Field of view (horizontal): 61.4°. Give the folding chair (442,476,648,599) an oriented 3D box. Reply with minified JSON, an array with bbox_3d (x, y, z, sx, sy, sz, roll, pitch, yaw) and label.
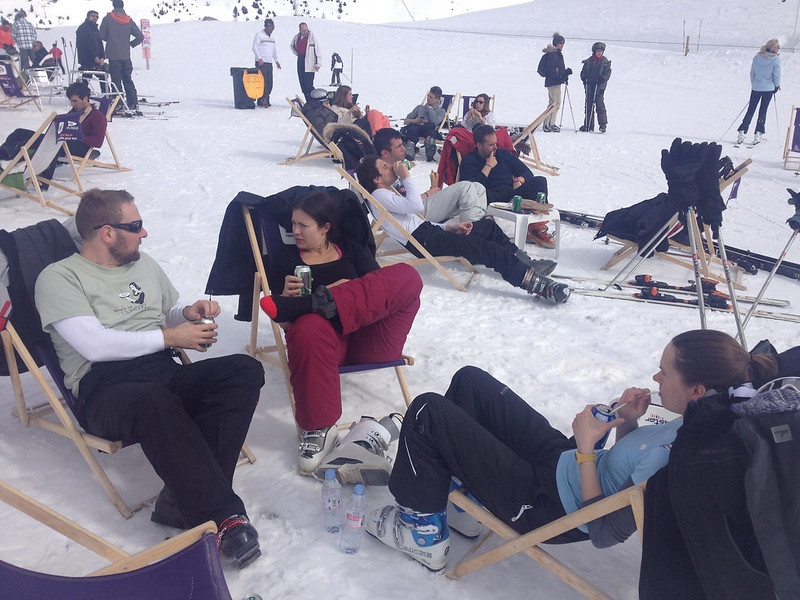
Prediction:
[{"bbox_3d":[0.556,0.923,2.916,0.953,0.599,0.476,0,7,18],"label":"folding chair"}]

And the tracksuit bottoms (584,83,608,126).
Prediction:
[{"bbox_3d":[3.796,-3.717,13.080,0.435,0.988,0.339,-6,-26,25],"label":"tracksuit bottoms"}]

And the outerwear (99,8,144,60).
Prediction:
[{"bbox_3d":[-5.093,-4.847,12.273,0.685,0.839,0.661,-8,24,-23],"label":"outerwear"}]

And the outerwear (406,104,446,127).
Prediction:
[{"bbox_3d":[0.433,-3.126,11.327,0.599,0.265,0.609,4,37,15],"label":"outerwear"}]

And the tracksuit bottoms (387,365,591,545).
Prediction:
[{"bbox_3d":[0.342,0.697,3.097,0.915,0.389,0.538,36,71,16],"label":"tracksuit bottoms"}]

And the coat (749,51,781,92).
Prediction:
[{"bbox_3d":[6.193,-3.902,11.437,0.468,0.627,0.446,14,25,29],"label":"coat"}]

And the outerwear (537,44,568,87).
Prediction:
[{"bbox_3d":[3.011,-4.657,13.204,0.472,0.828,0.845,-16,24,-17],"label":"outerwear"}]

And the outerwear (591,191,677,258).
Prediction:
[{"bbox_3d":[2.078,-0.730,6.058,0.265,0.598,0.578,37,9,-41],"label":"outerwear"}]

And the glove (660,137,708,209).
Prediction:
[{"bbox_3d":[1.869,-0.846,4.456,0.324,0.502,0.152,10,23,17],"label":"glove"}]

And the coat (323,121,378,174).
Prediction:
[{"bbox_3d":[-0.629,-1.922,8.266,0.201,0.286,0.375,36,74,13],"label":"coat"}]

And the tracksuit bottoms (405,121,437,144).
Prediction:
[{"bbox_3d":[0.308,-2.716,10.804,0.525,0.187,0.308,8,1,34],"label":"tracksuit bottoms"}]

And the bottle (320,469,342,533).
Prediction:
[{"bbox_3d":[-0.329,0.957,3.246,0.090,0.243,0.217,-1,22,-7],"label":"bottle"}]

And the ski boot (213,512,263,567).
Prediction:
[{"bbox_3d":[-0.682,1.023,2.867,0.125,0.122,0.269,-24,-14,-23],"label":"ski boot"}]

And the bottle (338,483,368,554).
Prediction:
[{"bbox_3d":[-0.223,0.998,3.124,0.124,0.276,0.219,0,22,-3],"label":"bottle"}]

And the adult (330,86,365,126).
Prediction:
[{"bbox_3d":[-0.822,-3.066,10.689,0.578,0.685,0.520,1,18,-6],"label":"adult"}]

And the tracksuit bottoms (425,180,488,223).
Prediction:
[{"bbox_3d":[0.529,-0.950,6.392,0.577,0.243,0.397,-3,23,15],"label":"tracksuit bottoms"}]

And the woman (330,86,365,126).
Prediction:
[{"bbox_3d":[-0.822,-3.060,10.678,0.578,0.715,0.530,3,13,4],"label":"woman"}]

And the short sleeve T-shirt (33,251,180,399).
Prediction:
[{"bbox_3d":[-1.484,0.128,3.353,0.354,0.583,0.637,-15,6,33],"label":"short sleeve T-shirt"}]

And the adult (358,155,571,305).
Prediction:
[{"bbox_3d":[0.534,-0.623,5.998,2.055,0.944,0.781,6,-10,29],"label":"adult"}]

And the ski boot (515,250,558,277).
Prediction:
[{"bbox_3d":[1.198,-0.329,5.961,0.420,0.290,0.138,-12,32,-16],"label":"ski boot"}]

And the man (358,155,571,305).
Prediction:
[{"bbox_3d":[0.525,-0.635,5.999,2.079,0.945,0.785,7,-7,29],"label":"man"}]

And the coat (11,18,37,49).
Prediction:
[{"bbox_3d":[-8.845,-6.326,15.800,0.470,0.713,0.615,-10,24,-26],"label":"coat"}]

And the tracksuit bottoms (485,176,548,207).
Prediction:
[{"bbox_3d":[1.229,-1.155,7.017,0.499,0.299,0.367,-7,18,17],"label":"tracksuit bottoms"}]

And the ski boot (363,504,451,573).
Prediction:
[{"bbox_3d":[0.036,1.079,3.012,0.309,0.274,0.112,35,37,20],"label":"ski boot"}]

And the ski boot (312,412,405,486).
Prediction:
[{"bbox_3d":[-0.217,0.762,3.383,0.450,0.146,0.343,-12,21,24],"label":"ski boot"}]

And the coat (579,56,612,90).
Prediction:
[{"bbox_3d":[3.762,-4.431,12.993,0.566,0.608,0.373,14,25,28],"label":"coat"}]

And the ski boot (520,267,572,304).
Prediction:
[{"bbox_3d":[1.173,-0.155,5.620,0.558,0.194,0.258,18,13,27],"label":"ski boot"}]
